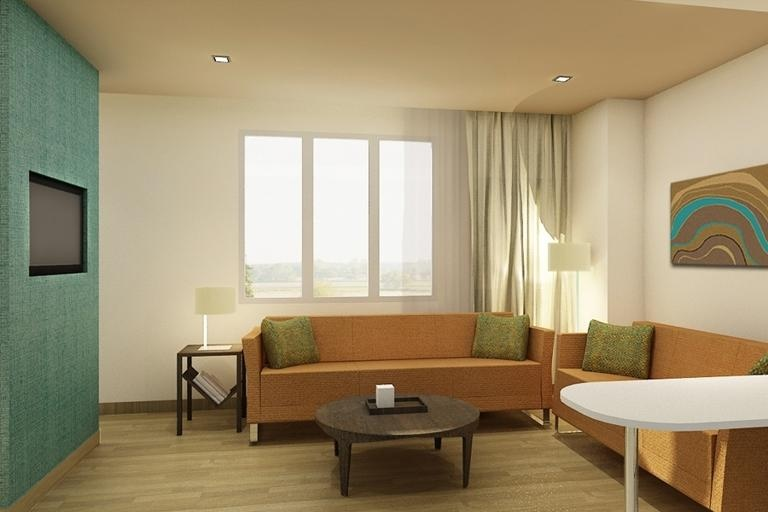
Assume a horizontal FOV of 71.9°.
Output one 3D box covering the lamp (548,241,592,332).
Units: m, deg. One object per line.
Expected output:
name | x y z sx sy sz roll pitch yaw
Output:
lamp | 2.190 0.386 6.309 0.470 1.110 0.613 3 9 19

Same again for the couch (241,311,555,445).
couch | 0.160 1.208 5.800 3.141 1.089 1.042 0 -1 -8

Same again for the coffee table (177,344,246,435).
coffee table | -1.862 1.449 5.856 0.824 1.033 1.031 1 -3 -4

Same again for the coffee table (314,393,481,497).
coffee table | 0.124 1.583 4.529 1.387 0.569 0.789 -1 8 -6

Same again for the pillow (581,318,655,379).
pillow | 2.299 0.933 5.202 0.505 0.414 0.223 3 -40 33
